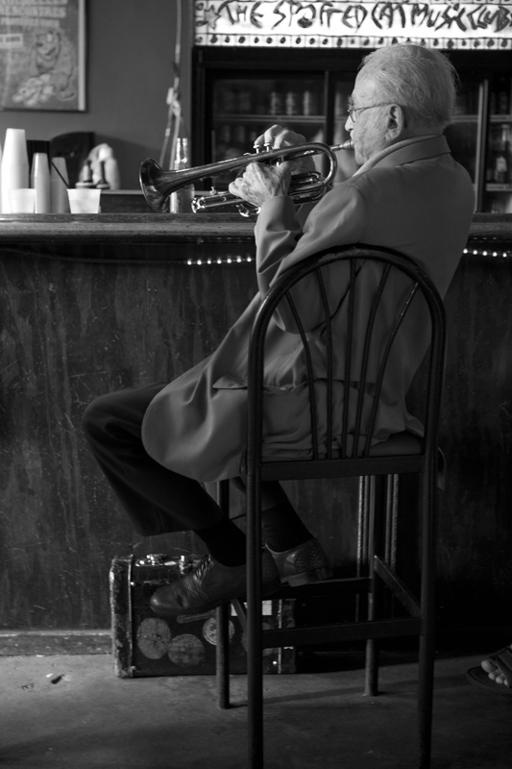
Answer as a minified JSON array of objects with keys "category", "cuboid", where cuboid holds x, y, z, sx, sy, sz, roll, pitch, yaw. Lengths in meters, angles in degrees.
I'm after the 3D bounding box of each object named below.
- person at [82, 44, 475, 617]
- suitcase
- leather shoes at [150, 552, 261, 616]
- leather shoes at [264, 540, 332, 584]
[{"category":"person","cuboid":[0.036,-0.078,2.074,0.678,1.105,0.436,6,3,17]},{"category":"suitcase","cuboid":[-0.118,0.513,2.638,0.427,0.281,0.426,2,7,0]},{"category":"leather shoes","cuboid":[-0.100,0.390,2.093,0.240,0.099,0.083,-20,-3,33]},{"category":"leather shoes","cuboid":[0.083,0.349,2.119,0.060,0.079,0.163,-11,-3,-15]}]
